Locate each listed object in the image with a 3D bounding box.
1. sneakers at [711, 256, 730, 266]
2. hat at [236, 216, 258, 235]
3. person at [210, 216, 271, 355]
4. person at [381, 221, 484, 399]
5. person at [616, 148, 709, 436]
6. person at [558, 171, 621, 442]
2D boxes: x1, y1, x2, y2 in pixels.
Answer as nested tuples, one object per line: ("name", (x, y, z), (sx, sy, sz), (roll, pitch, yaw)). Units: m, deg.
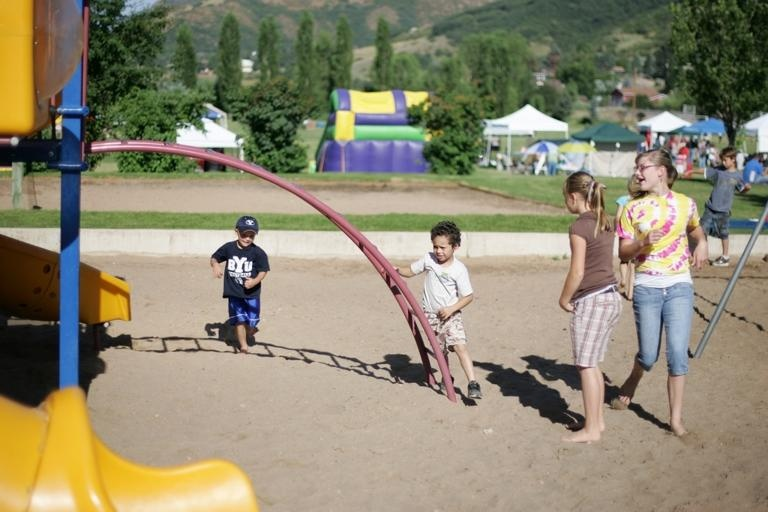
("sneakers", (6.668, 0.098, 21.013), (0.466, 0.238, 0.176), (0, 11, 20))
("hat", (-2.078, -0.475, 16.076), (0.304, 0.328, 0.859), (3, 11, -8))
("person", (-2.152, 0.450, 15.849), (0.784, 2.058, 0.407), (2, 11, -10))
("person", (0.812, 0.709, 14.534), (1.119, 2.345, 0.425), (5, 11, 6))
("person", (3.604, 0.456, 14.101), (1.127, 3.679, 0.783), (7, 11, 15))
("person", (2.674, 0.684, 13.969), (0.780, 3.477, 0.652), (6, 11, 13))
